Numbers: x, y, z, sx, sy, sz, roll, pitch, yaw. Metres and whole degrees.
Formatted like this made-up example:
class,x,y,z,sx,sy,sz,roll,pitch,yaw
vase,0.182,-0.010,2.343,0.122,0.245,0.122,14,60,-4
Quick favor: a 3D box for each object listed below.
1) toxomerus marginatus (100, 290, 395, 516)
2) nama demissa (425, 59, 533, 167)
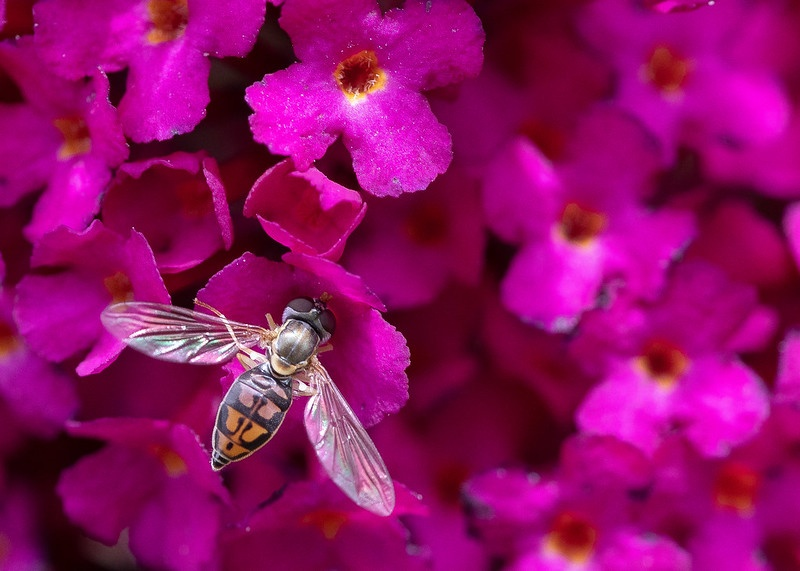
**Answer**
class,x,y,z,sx,sy,sz,roll,pitch,yaw
toxomerus marginatus,-0.184,0.138,1.058,0.351,0.191,0.172,0,-48,-1
nama demissa,0.097,-0.205,1.065,0.114,0.030,0.121,-42,-76,3
